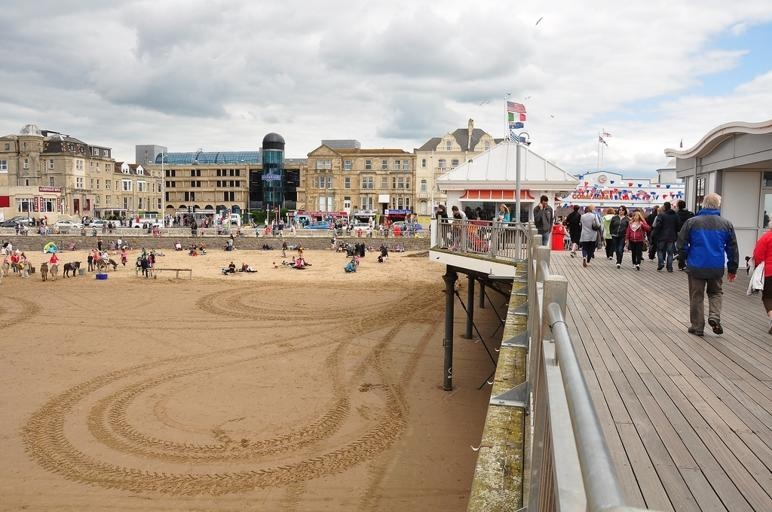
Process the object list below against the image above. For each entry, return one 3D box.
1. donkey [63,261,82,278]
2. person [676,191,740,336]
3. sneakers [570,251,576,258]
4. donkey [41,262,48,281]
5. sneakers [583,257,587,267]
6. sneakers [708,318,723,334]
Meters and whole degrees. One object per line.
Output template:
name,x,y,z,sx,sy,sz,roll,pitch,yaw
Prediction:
donkey,-18.407,0.821,42.600,0.844,1.444,2.211,1,8,-17
person,6.439,0.154,14.603,1.120,2.718,1.237,4,10,22
sneakers,6.650,-0.061,25.883,0.139,0.151,0.407,8,11,23
donkey,-18.793,0.939,39.921,0.316,0.917,1.565,-4,10,-26
sneakers,6.113,0.203,22.353,0.100,0.279,0.123,-7,-8,27
sneakers,6.472,1.394,14.305,0.104,0.305,0.124,-32,5,43
